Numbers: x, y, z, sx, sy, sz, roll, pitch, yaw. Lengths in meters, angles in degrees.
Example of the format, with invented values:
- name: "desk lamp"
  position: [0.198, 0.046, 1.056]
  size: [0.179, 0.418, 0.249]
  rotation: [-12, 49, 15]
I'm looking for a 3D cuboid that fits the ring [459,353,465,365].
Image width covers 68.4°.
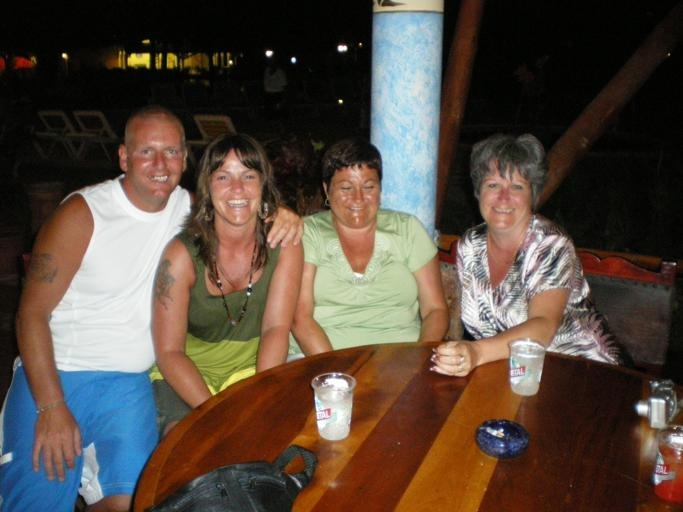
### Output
- name: "ring"
  position: [0.574, 0.486, 2.382]
  size: [0.008, 0.033, 0.033]
  rotation: [0, 22, 40]

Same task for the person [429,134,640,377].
- name: "person"
  position: [1.175, -0.058, 3.069]
  size: [0.982, 1.301, 0.682]
  rotation: [7, 17, 24]

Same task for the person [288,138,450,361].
- name: "person"
  position: [0.141, 0.051, 3.267]
  size: [1.028, 1.398, 1.012]
  rotation: [-6, 27, -6]
